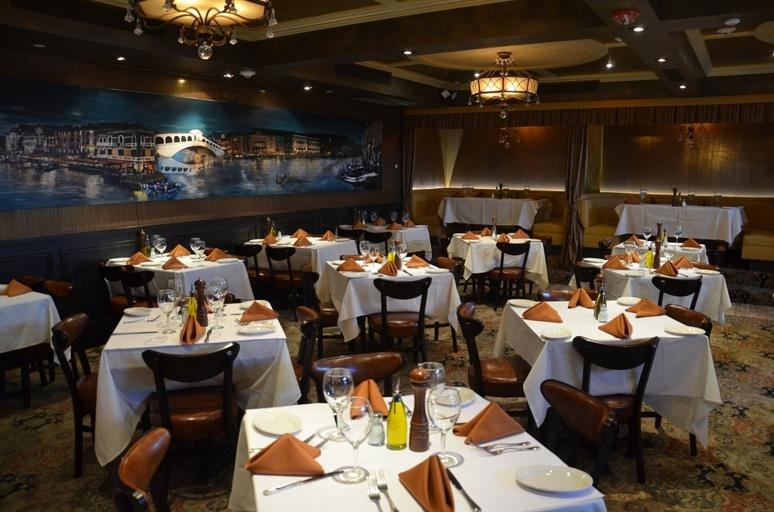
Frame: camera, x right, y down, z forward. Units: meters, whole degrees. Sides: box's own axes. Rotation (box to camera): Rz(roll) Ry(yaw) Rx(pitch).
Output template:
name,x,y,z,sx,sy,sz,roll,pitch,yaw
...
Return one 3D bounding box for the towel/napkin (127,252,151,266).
name,x,y,z,sx,sy,sz,roll,pitch,yaw
towel/napkin,-3.144,0.041,6.318,0.228,0.081,0.178,4,11,38

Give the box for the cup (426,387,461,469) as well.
name,x,y,z,sx,sy,sz,roll,pitch,yaw
cup,0.322,0.896,2.750,0.194,0.408,0.263,2,11,14

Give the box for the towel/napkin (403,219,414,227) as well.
name,x,y,z,sx,sy,sz,roll,pitch,yaw
towel/napkin,0.405,-0.615,9.449,0.116,0.154,0.153,-4,-9,8

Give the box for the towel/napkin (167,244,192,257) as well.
name,x,y,z,sx,sy,sz,roll,pitch,yaw
towel/napkin,-2.793,-0.059,6.744,0.208,0.096,0.206,-4,6,-42

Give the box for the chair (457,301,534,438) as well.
name,x,y,z,sx,sy,sz,roll,pitch,yaw
chair,0.904,0.947,4.195,0.641,1.112,0.855,-6,14,1

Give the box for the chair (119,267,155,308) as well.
name,x,y,z,sx,sy,sz,roll,pitch,yaw
chair,-2.927,0.363,5.940,0.320,0.511,0.347,10,20,19

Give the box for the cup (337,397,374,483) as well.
name,x,y,z,sx,sy,sz,roll,pitch,yaw
cup,-0.170,0.930,2.656,0.174,0.428,0.233,-1,11,-4

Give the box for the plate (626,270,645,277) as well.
name,x,y,z,sx,sy,sz,roll,pitch,yaw
plate,2.883,0.205,5.864,0.196,0.037,0.256,5,11,27

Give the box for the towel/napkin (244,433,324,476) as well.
name,x,y,z,sx,sy,sz,roll,pitch,yaw
towel/napkin,-0.550,1.069,2.645,0.279,0.120,0.262,1,-4,-3

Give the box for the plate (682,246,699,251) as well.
name,x,y,z,sx,sy,sz,roll,pitch,yaw
plate,4.170,-0.099,6.982,0.248,0.023,0.192,-1,10,-7

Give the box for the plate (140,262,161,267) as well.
name,x,y,z,sx,sy,sz,roll,pitch,yaw
plate,-2.875,0.109,6.163,0.229,0.035,0.241,-6,12,-29

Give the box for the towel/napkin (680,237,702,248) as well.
name,x,y,z,sx,sy,sz,roll,pitch,yaw
towel/napkin,4.277,-0.180,7.129,0.338,0.104,0.179,-6,12,-29

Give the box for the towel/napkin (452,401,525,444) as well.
name,x,y,z,sx,sy,sz,roll,pitch,yaw
towel/napkin,0.577,0.965,2.894,0.298,0.119,0.220,-8,10,-23

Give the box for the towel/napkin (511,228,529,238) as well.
name,x,y,z,sx,sy,sz,roll,pitch,yaw
towel/napkin,2.427,-0.414,9.197,0.389,0.177,0.517,-2,0,4

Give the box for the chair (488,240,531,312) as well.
name,x,y,z,sx,sy,sz,roll,pitch,yaw
chair,1.872,0.281,7.859,0.594,0.981,0.640,1,4,0

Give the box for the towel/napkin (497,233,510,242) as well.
name,x,y,z,sx,sy,sz,roll,pitch,yaw
towel/napkin,1.795,-0.276,7.821,0.173,0.081,0.177,-2,0,22

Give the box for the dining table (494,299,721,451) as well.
name,x,y,z,sx,sy,sz,roll,pitch,yaw
dining table,1.927,0.849,4.675,1.339,0.762,1.372,0,-1,-6

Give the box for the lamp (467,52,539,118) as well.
name,x,y,z,sx,sy,sz,roll,pitch,yaw
lamp,1.982,-2.880,8.544,1.082,1.013,1.154,1,14,3

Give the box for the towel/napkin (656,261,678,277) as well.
name,x,y,z,sx,sy,sz,roll,pitch,yaw
towel/napkin,3.179,0.107,5.740,0.193,0.095,0.193,-17,13,-18

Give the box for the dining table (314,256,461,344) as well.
name,x,y,z,sx,sy,sz,roll,pitch,yaw
dining table,0.223,0.470,6.191,1.474,0.626,1.489,-3,6,12

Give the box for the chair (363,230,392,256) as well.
name,x,y,z,sx,sy,sz,roll,pitch,yaw
chair,-0.120,-0.310,8.298,0.463,0.579,0.420,6,23,11

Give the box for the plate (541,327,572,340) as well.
name,x,y,z,sx,sy,sz,roll,pitch,yaw
plate,1.355,0.627,4.083,0.239,0.046,0.192,-1,10,-4

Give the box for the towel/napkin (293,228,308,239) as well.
name,x,y,z,sx,sy,sz,roll,pitch,yaw
towel/napkin,-1.332,-0.345,7.967,0.178,0.106,0.271,-1,-2,30

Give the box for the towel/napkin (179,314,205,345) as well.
name,x,y,z,sx,sy,sz,roll,pitch,yaw
towel/napkin,-1.506,0.568,3.914,0.131,0.193,0.213,3,11,16

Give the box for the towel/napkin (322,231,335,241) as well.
name,x,y,z,sx,sy,sz,roll,pitch,yaw
towel/napkin,-0.908,-0.302,7.890,0.181,0.103,0.239,-1,2,1

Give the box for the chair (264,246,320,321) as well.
name,x,y,z,sx,sy,sz,roll,pitch,yaw
chair,-1.399,0.348,7.465,0.667,0.940,0.613,-6,9,-34

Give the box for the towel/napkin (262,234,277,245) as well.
name,x,y,z,sx,sy,sz,roll,pitch,yaw
towel/napkin,-1.767,-0.244,7.608,0.165,0.094,0.216,-3,14,-13

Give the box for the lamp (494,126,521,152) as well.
name,x,y,z,sx,sy,sz,roll,pitch,yaw
lamp,3.076,-3.024,13.362,0.660,0.606,0.671,7,11,42

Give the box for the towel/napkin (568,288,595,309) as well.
name,x,y,z,sx,sy,sz,roll,pitch,yaw
towel/napkin,1.822,0.402,4.767,0.174,0.117,0.218,-2,-1,-33

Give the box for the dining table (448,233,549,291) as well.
name,x,y,z,sx,sy,sz,roll,pitch,yaw
dining table,1.655,-0.071,7.973,1.053,0.595,1.045,-2,5,-19

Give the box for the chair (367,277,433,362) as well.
name,x,y,z,sx,sy,sz,roll,pitch,yaw
chair,0.148,0.739,5.609,0.642,1.043,0.716,-1,4,-12

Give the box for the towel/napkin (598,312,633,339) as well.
name,x,y,z,sx,sy,sz,roll,pitch,yaw
towel/napkin,1.902,0.578,4.135,0.220,0.083,0.200,-24,30,-29

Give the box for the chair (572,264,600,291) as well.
name,x,y,z,sx,sy,sz,roll,pitch,yaw
chair,2.324,0.246,5.893,0.225,0.304,0.245,-13,20,-28

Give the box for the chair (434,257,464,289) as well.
name,x,y,z,sx,sy,sz,roll,pitch,yaw
chair,0.760,0.196,6.238,0.321,0.462,0.376,-10,17,-30

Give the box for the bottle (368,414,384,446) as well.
name,x,y,z,sx,sy,sz,roll,pitch,yaw
bottle,-0.061,0.987,2.866,0.120,0.167,0.120,-2,-7,0

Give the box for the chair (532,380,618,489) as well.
name,x,y,z,sx,sy,sz,roll,pitch,yaw
chair,1.315,1.136,3.199,0.405,0.613,0.447,0,7,-23

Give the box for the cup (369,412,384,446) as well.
name,x,y,z,sx,sy,sz,roll,pitch,yaw
cup,-0.073,0.988,2.859,0.109,0.154,0.112,3,-9,0

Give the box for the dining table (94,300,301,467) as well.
name,x,y,z,sx,sy,sz,roll,pitch,yaw
dining table,-1.743,1.109,4.497,1.893,0.868,2.083,-3,-11,30

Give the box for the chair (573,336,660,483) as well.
name,x,y,z,sx,sy,sz,roll,pitch,yaw
chair,1.873,1.254,3.925,0.705,0.970,0.671,25,-22,-17

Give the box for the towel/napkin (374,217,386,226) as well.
name,x,y,z,sx,sy,sz,roll,pitch,yaw
towel/napkin,-0.131,-0.650,9.791,0.227,0.092,0.229,-3,3,3

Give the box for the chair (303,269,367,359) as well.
name,x,y,z,sx,sy,sz,roll,pitch,yaw
chair,-0.636,0.679,6.015,0.590,0.979,0.679,-4,5,-1
